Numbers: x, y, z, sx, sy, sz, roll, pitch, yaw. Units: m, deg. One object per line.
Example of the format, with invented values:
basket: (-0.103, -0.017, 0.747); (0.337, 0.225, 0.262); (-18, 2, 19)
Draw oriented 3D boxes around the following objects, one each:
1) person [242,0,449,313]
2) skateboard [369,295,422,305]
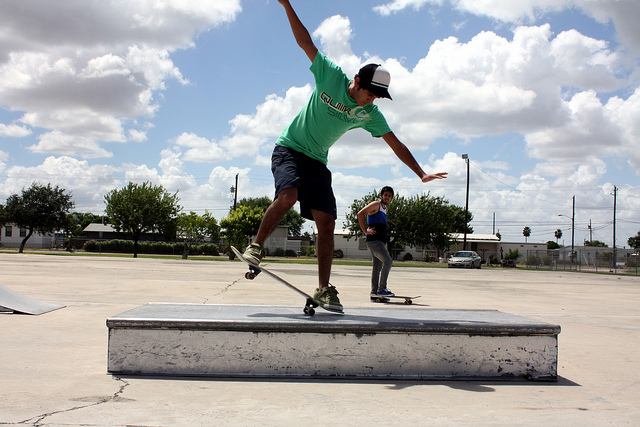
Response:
person: (0.067, -0.577, 5.677); (1.520, 3.159, 0.741); (2, -4, 8)
skateboard: (1.252, 1.456, 9.452); (0.738, 0.126, 0.210); (1, 9, 8)
